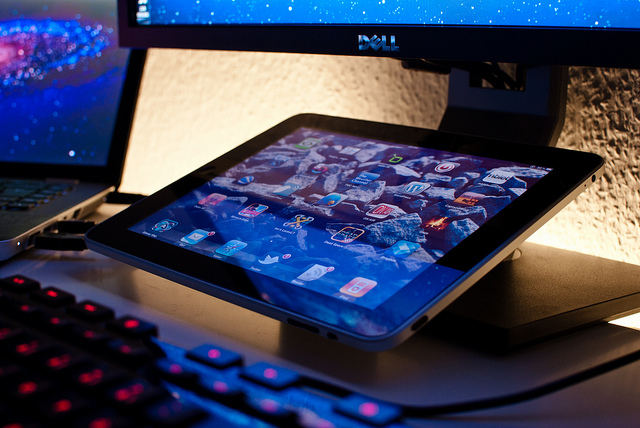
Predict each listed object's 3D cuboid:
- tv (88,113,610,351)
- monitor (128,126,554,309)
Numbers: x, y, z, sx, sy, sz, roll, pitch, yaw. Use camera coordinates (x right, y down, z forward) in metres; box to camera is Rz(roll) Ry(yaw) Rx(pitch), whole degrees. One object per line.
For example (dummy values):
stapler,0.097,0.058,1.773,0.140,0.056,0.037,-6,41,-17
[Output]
tv,0.071,0.015,0.533,0.379,0.042,0.445,-34,32,-31
monitor,0.022,-0.021,0.551,0.371,0.115,0.265,19,31,27
